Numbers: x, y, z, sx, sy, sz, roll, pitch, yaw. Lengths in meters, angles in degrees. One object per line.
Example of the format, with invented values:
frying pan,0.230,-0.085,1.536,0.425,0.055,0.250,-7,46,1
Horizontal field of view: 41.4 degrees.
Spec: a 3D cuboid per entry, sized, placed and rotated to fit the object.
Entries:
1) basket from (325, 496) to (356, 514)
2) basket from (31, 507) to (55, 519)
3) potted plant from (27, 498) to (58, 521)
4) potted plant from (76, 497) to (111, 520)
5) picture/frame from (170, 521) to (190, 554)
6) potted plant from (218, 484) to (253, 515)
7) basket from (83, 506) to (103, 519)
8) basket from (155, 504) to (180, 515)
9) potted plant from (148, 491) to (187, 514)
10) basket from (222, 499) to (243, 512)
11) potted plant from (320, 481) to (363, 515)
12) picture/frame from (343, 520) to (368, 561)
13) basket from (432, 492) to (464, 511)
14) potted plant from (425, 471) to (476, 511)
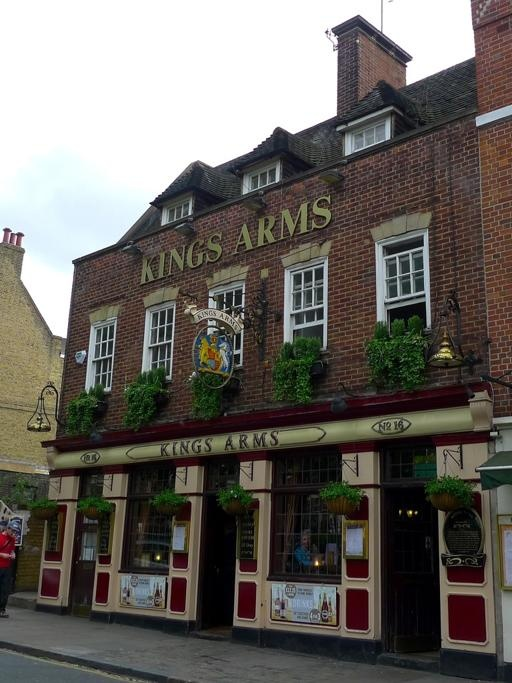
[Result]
basket,1.259,2.343,9.667,0.301,0.151,0.294,2,-6,-23
basket,-4.837,3.923,15.477,0.532,0.248,0.402,6,-18,-16
potted plant,-4.868,3.858,15.540,0.533,0.353,0.526,15,-18,-43
potted plant,-3.367,3.490,14.186,0.587,0.364,0.580,-5,-17,18
picture/frame,-1.380,3.592,12.395,0.065,0.614,0.592,15,-21,-38
potted plant,-0.383,2.633,11.298,0.499,0.422,0.506,-15,-22,42
basket,-3.397,3.637,14.180,0.309,0.184,0.304,-2,-26,19
basket,-1.637,3.130,12.561,0.292,0.135,0.428,16,-23,-41
potted plant,-1.634,2.982,12.591,0.478,0.312,0.468,11,-14,-34
basket,-0.383,2.743,11.191,0.337,0.185,0.202,-12,-22,35
potted plant,1.229,2.273,9.758,0.511,0.349,0.489,-5,-17,16
picture/frame,1.424,2.833,9.621,0.075,0.592,0.508,15,-23,-37
basket,2.408,2.007,8.437,0.307,0.197,0.398,12,-20,-32
potted plant,2.422,1.872,8.442,0.468,0.322,0.470,13,-20,-41
